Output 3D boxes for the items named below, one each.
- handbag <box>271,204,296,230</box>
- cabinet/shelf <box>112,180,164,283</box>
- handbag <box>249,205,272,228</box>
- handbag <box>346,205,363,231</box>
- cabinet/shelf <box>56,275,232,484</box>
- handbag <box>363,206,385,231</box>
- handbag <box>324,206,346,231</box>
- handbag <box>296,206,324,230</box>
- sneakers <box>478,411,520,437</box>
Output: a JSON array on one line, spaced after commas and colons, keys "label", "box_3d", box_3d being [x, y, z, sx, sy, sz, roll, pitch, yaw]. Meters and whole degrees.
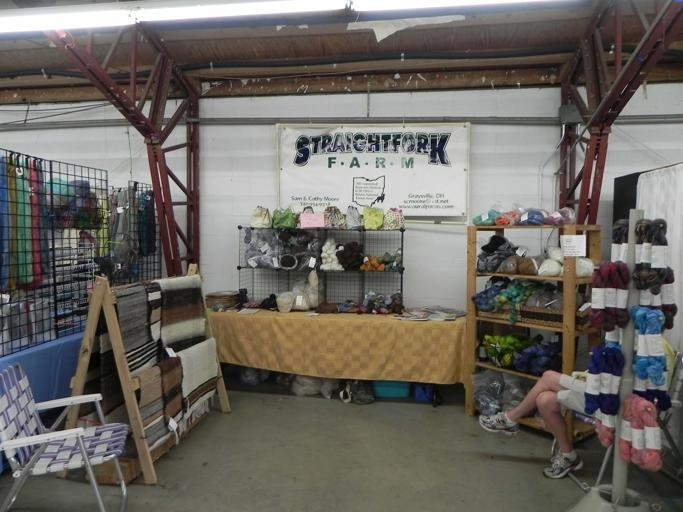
[{"label": "handbag", "box_3d": [-0.672, -0.460, 6.197, 0.308, 0.221, 0.212, -1, 13, -5]}, {"label": "cabinet/shelf", "box_3d": [-2.560, -0.259, 6.527, 0.395, 1.285, 1.053, -1, 13, -3]}, {"label": "handbag", "box_3d": [-0.949, -0.469, 6.245, 0.241, 0.228, 0.161, -1, 13, -6]}, {"label": "handbag", "box_3d": [0.135, -0.451, 6.171, 0.186, 0.241, 0.167, 0, 13, 0]}, {"label": "cabinet/shelf", "box_3d": [-1.782, 1.153, 4.745, 0.708, 1.454, 1.606, -2, 1, 9]}, {"label": "handbag", "box_3d": [0.364, -0.434, 6.123, 0.237, 0.267, 0.069, -1, 5, 5]}, {"label": "handbag", "box_3d": [-0.082, -0.452, 6.146, 0.179, 0.229, 0.282, -2, -9, 29]}, {"label": "handbag", "box_3d": [-0.338, -0.413, 6.094, 0.285, 0.176, 0.100, -1, 13, -3]}, {"label": "sneakers", "box_3d": [1.451, 1.555, 4.979, 0.426, 0.233, 0.195, 6, 14, 4]}]
